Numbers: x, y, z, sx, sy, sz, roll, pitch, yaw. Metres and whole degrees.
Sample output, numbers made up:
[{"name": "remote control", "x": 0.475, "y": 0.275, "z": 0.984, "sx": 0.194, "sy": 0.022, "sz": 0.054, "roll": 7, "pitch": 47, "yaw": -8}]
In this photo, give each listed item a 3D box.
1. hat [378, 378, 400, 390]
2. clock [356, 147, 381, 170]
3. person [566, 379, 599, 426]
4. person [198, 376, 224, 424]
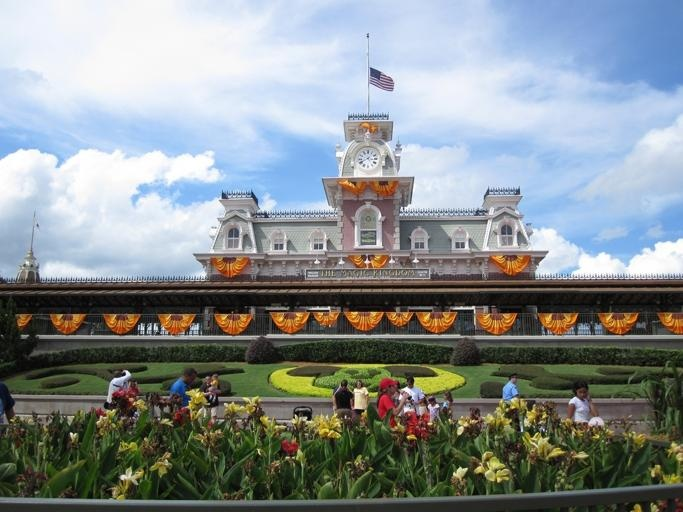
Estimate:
[{"name": "hat", "x": 1.199, "y": 3.228, "z": 21.739, "sx": 0.429, "sy": 0.140, "sz": 0.273, "roll": -2, "pitch": -1, "yaw": -19}, {"name": "clock", "x": 1.449, "y": -5.243, "z": 48.229, "sx": 1.222, "sy": 1.199, "sz": 1.196, "roll": 4, "pitch": -29, "yaw": 4}, {"name": "person", "x": 5.997, "y": 3.614, "z": 21.301, "sx": 0.645, "sy": 0.996, "sz": 0.757, "roll": 1, "pitch": -1, "yaw": 17}, {"name": "person", "x": -3.434, "y": 3.760, "z": 22.472, "sx": 0.550, "sy": 1.301, "sz": 0.540, "roll": -3, "pitch": 3, "yaw": -5}]
